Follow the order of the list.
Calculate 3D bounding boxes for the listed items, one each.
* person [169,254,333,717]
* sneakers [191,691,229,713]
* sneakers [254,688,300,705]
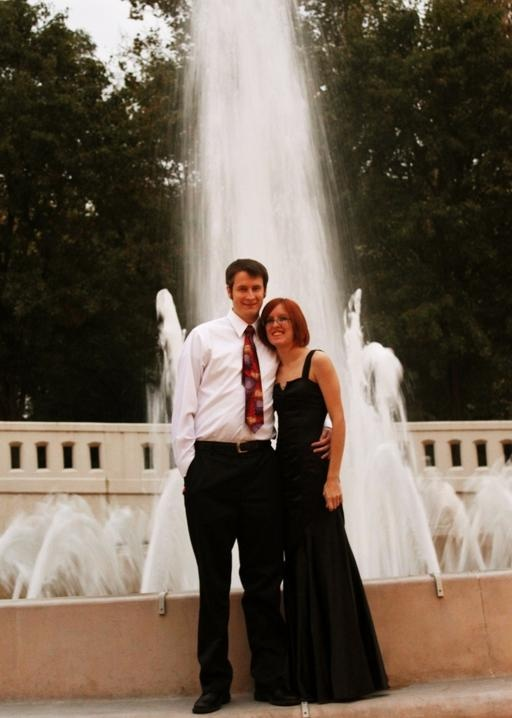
[{"bbox_3d":[-0.118,0.587,5.154,0.533,2.137,0.230,-4,-6,-4],"label":"person"},{"bbox_3d":[-0.211,1.593,5.003,0.062,0.103,0.200,-5,-9,31],"label":"sneakers"},{"bbox_3d":[0.087,1.585,5.003,0.156,0.091,0.082,-4,0,22],"label":"sneakers"}]
